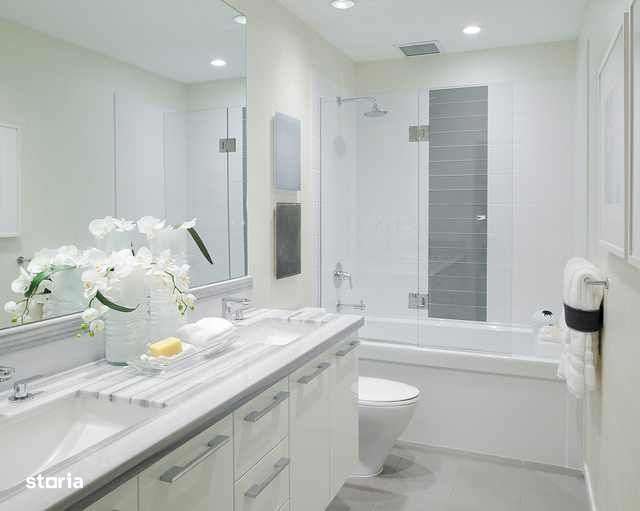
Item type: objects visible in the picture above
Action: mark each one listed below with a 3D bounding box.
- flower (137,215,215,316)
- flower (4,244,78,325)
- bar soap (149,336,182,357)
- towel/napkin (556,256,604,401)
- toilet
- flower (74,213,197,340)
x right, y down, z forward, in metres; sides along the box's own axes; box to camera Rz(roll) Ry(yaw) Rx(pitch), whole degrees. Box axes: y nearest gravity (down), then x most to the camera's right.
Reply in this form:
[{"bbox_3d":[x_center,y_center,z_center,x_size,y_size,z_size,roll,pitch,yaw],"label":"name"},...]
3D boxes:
[{"bbox_3d":[-0.581,0.043,1.810,0.231,0.372,0.185,-4,-1,-14],"label":"flower"},{"bbox_3d":[-0.894,0.095,1.443,0.091,0.227,0.256,4,10,41],"label":"flower"},{"bbox_3d":[-0.530,0.296,1.517,0.051,0.049,0.098,-9,-2,39],"label":"bar soap"},{"bbox_3d":[1.342,0.384,2.253,0.165,0.665,0.384,1,8,24],"label":"towel/napkin"},{"bbox_3d":[0.365,1.100,2.822,0.489,0.416,0.430,11,-5,-24],"label":"toilet"},{"bbox_3d":[-0.654,0.081,1.639,0.412,0.371,0.347,6,-7,-44],"label":"flower"}]
